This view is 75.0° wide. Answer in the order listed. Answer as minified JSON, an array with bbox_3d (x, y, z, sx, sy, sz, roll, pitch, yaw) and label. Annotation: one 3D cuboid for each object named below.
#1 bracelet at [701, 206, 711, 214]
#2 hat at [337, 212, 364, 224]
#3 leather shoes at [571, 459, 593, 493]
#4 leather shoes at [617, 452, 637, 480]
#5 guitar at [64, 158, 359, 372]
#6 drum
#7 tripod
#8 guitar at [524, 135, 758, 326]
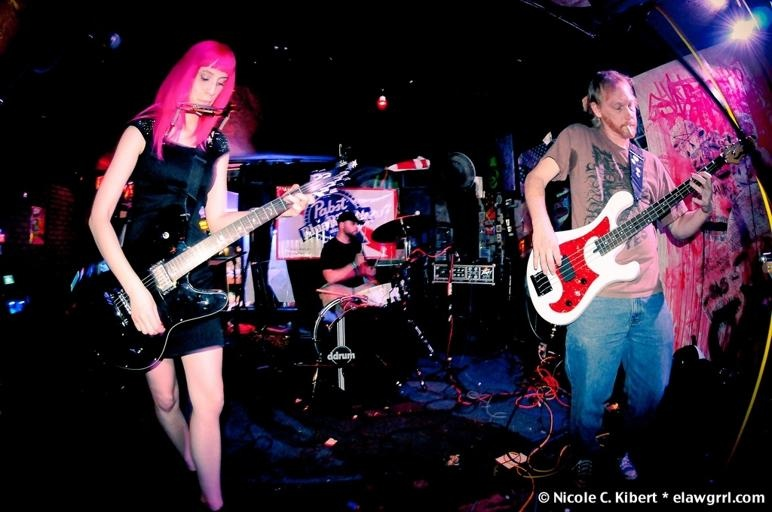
[{"bbox_3d":[2.717,-0.386,4.220,0.060,0.056,0.044,17,-3,4],"label":"bracelet"},{"bbox_3d":[-0.396,-0.461,6.056,0.317,0.110,0.199,2,-1,-22],"label":"hat"},{"bbox_3d":[1.684,1.836,4.235,0.174,0.237,0.086,4,4,7],"label":"leather shoes"},{"bbox_3d":[2.093,1.810,4.356,0.133,0.216,0.069,-24,-15,0],"label":"leather shoes"},{"bbox_3d":[-1.750,0.108,5.152,2.984,1.068,0.410,-31,6,-7],"label":"guitar"},{"bbox_3d":[-0.404,0.874,5.688,0.767,0.729,0.402,6,6,-17],"label":"drum"},{"bbox_3d":[0.280,0.496,5.946,0.768,1.885,0.840,-3,15,-9],"label":"tripod"},{"bbox_3d":[2.357,-0.221,4.443,1.955,0.697,0.221,-37,-3,-1],"label":"guitar"}]
